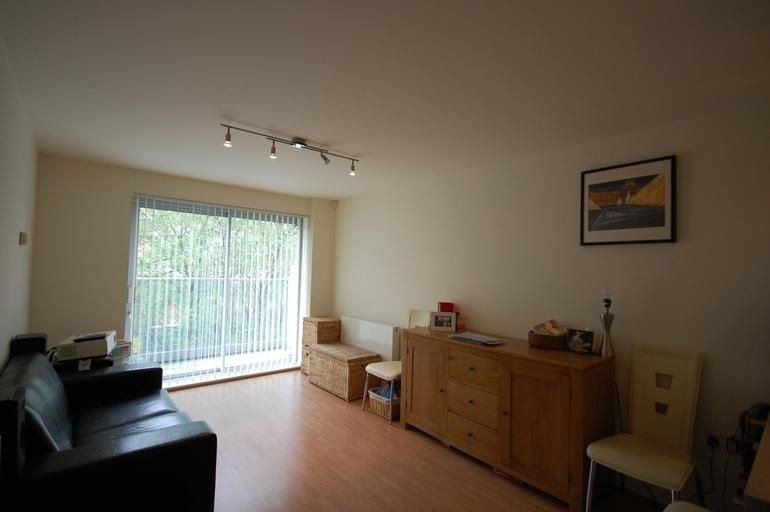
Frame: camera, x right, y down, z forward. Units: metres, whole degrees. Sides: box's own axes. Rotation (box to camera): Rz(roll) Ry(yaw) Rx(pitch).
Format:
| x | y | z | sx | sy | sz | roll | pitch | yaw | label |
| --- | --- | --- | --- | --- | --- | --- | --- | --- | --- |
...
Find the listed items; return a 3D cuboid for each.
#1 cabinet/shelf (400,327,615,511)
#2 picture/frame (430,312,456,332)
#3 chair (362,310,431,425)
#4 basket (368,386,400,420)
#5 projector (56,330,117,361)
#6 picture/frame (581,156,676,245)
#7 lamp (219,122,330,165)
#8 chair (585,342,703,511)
| x | y | z | sx | sy | sz | roll | pitch | yaw | label |
| --- | --- | --- | --- | --- | --- | --- | --- | --- | --- |
| 1.016 | 1.415 | 4.520 | 1.801 | 1.470 | 0.361 | 4 | 1 | 35 | cabinet/shelf |
| 0.603 | 0.692 | 5.156 | 0.281 | 0.212 | 0.174 | 1 | -2 | 4 | picture/frame |
| 0.153 | 1.211 | 5.578 | 0.710 | 1.157 | 0.675 | 2 | 1 | -45 | chair |
| -0.025 | 1.607 | 5.451 | 0.179 | 0.325 | 0.457 | 3 | 1 | -44 | basket |
| -2.933 | 0.873 | 4.700 | 0.391 | 0.164 | 0.294 | -2 | 2 | 20 | projector |
| 2.096 | -0.469 | 4.298 | 0.740 | 0.761 | 0.020 | -3 | 35 | 23 | picture/frame |
| -1.048 | -1.075 | 4.767 | 1.096 | 0.262 | 0.312 | 4 | 1 | -24 | lamp |
| 2.096 | 1.425 | 3.914 | 0.729 | 1.503 | 0.627 | 4 | 1 | 35 | chair |
